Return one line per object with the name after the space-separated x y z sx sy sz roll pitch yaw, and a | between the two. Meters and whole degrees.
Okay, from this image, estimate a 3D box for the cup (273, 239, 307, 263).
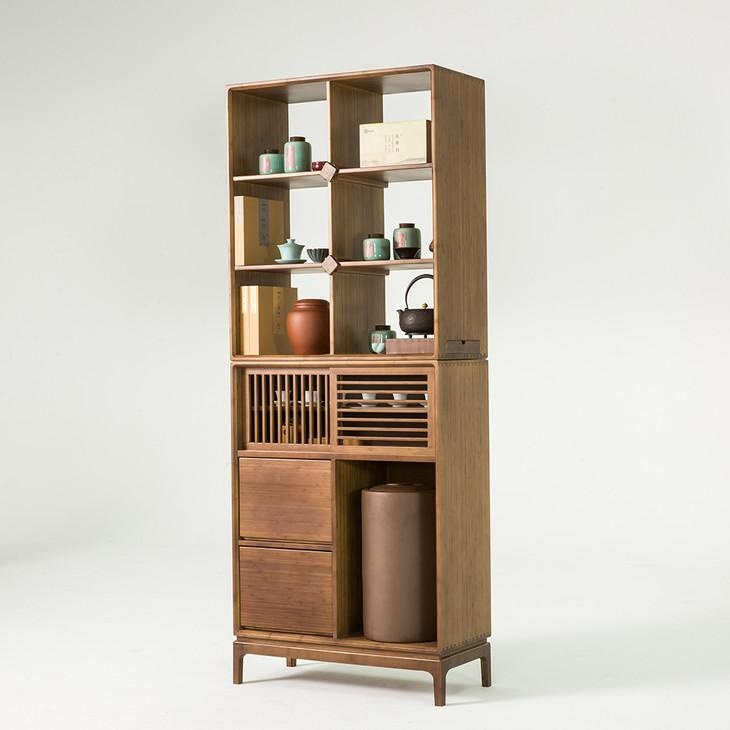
-0.317 -0.448 3.418 0.135 0.084 0.122 0 -2 2 | cup

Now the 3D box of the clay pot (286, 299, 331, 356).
-0.214 -0.148 3.413 0.229 0.220 0.213 1 2 0 | clay pot

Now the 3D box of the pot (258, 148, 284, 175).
-0.377 -0.802 3.346 0.124 0.097 0.114 0 2 0 | pot

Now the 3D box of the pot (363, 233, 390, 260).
0.041 -0.440 3.168 0.117 0.090 0.110 0 3 0 | pot

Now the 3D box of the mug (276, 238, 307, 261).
-0.307 -0.455 3.418 0.122 0.079 0.114 -1 -5 4 | mug

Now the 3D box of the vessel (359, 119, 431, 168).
0.109 -0.803 3.067 0.269 0.130 0.075 0 0 30 | vessel

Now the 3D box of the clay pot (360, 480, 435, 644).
0.125 0.748 3.137 0.271 0.553 0.106 -1 -5 3 | clay pot

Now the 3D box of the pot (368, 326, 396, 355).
0.061 -0.101 3.232 0.117 0.101 0.105 2 1 19 | pot
